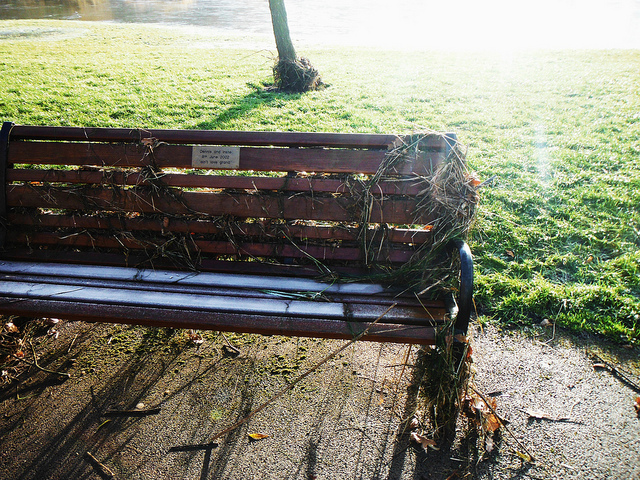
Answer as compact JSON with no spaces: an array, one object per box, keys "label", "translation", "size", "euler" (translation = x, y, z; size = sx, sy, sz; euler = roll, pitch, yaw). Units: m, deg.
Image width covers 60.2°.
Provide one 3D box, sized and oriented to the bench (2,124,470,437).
[{"label":"bench","translation":[-0.687,0.068,4.352],"size":[3.721,1.808,1.122],"euler":[2,27,6]}]
